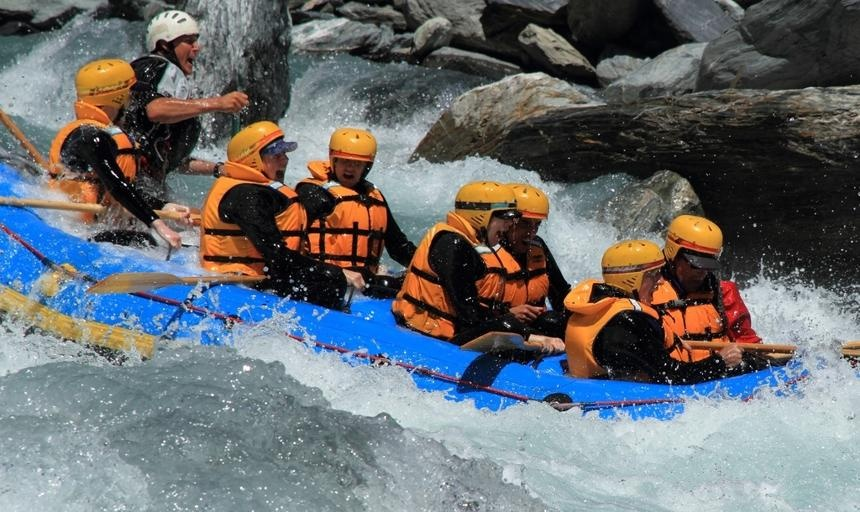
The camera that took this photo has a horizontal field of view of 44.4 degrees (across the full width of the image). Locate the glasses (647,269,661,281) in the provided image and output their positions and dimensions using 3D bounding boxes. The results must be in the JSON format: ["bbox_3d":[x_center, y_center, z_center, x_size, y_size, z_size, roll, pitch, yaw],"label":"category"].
[{"bbox_3d":[2.362,0.203,11.127,0.133,0.042,0.122,1,91,-34],"label":"glasses"}]

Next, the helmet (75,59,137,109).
[{"bbox_3d":[-3.650,-1.983,11.926,0.645,0.460,0.452,-14,114,2],"label":"helmet"}]

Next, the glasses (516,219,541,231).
[{"bbox_3d":[1.062,-0.341,11.647,0.200,0.148,0.100,8,88,-25],"label":"glasses"}]

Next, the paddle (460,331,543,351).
[{"bbox_3d":[0.703,0.886,11.015,0.791,0.839,0.091,-3,82,-8],"label":"paddle"}]

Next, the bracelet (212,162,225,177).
[{"bbox_3d":[-2.512,-1.023,12.476,0.050,0.166,0.160,27,84,-11],"label":"bracelet"}]

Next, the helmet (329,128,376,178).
[{"bbox_3d":[-0.909,-1.218,12.119,0.437,0.483,0.423,10,97,-11],"label":"helmet"}]
